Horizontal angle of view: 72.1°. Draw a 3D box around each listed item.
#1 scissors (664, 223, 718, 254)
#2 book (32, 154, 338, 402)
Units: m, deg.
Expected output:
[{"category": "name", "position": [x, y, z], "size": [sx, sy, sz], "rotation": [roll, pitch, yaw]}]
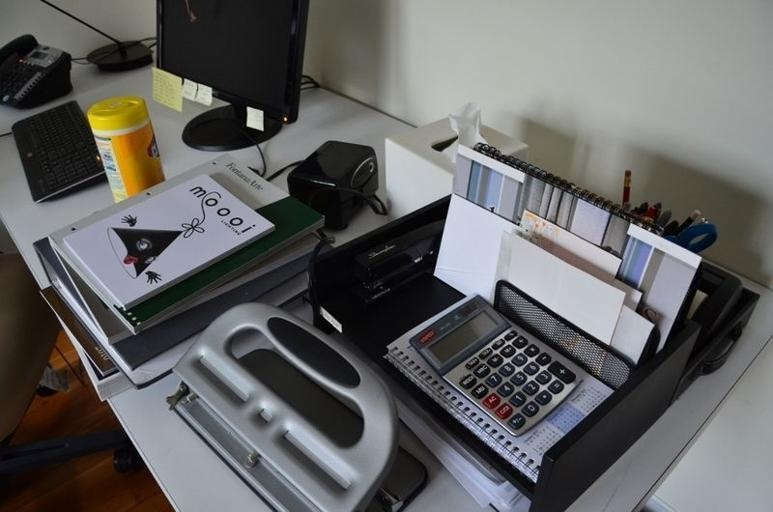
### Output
[{"category": "scissors", "position": [0.585, -0.037, 1.044], "size": [0.089, 0.086, 0.022], "rotation": [18, 50, -34]}, {"category": "book", "position": [-0.429, -0.007, 1.201], "size": [0.534, 0.173, 0.408], "rotation": [-28, 49, -26]}]
